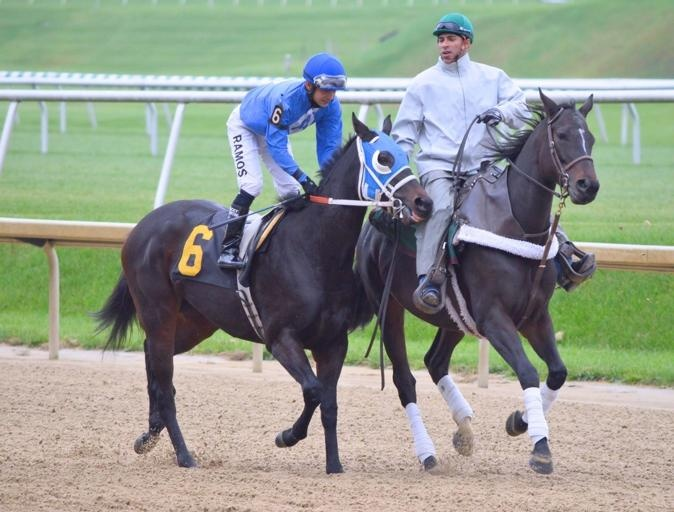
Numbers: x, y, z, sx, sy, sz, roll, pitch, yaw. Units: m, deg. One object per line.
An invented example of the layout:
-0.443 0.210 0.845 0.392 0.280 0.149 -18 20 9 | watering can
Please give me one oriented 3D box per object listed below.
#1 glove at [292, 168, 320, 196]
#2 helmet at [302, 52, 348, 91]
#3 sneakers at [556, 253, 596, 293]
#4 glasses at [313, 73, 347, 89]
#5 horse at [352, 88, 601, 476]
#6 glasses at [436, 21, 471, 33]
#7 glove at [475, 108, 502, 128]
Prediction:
-0.230 -0.550 8.231 0.189 0.197 0.167 0 13 2 | glove
-0.075 -1.353 8.164 0.296 0.236 0.418 0 20 -27 | helmet
1.779 0.157 8.333 0.223 0.211 0.296 -5 -31 2 | sneakers
-0.051 -1.243 8.048 0.127 0.058 0.146 1 -3 -24 | glasses
1.054 0.197 8.194 1.615 2.751 0.937 3 13 13 | horse
0.887 -1.700 8.455 0.162 0.048 0.127 7 -3 -12 | glasses
1.122 -1.015 8.248 0.154 0.072 0.122 -26 4 20 | glove
